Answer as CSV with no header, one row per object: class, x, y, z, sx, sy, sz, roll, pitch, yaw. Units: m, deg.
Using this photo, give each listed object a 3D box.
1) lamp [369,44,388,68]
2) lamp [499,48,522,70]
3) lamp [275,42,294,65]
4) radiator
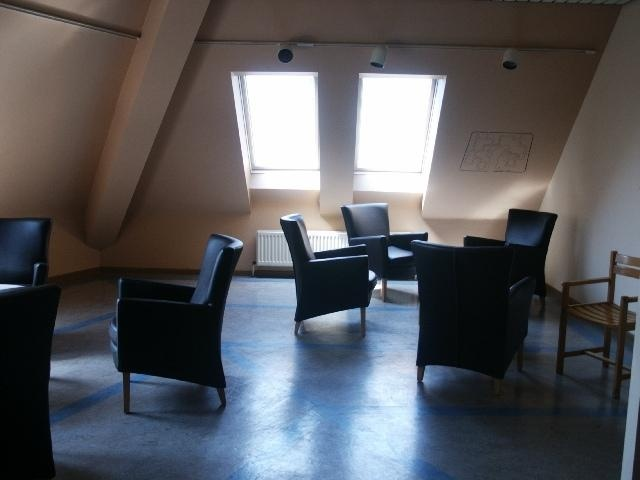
lamp,0.620,-1.941,5.016,0.150,0.228,0.207,2,14,4
lamp,2.002,-1.894,5.027,0.181,0.266,0.062,4,8,8
lamp,-0.372,-2.028,5.196,0.181,0.171,0.215,-1,14,-5
radiator,-0.308,0.120,7.039,1.344,0.624,0.311,1,28,-14
